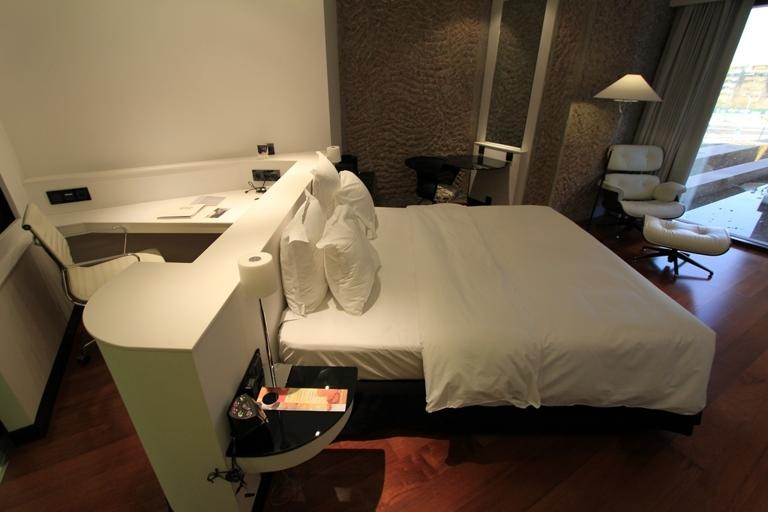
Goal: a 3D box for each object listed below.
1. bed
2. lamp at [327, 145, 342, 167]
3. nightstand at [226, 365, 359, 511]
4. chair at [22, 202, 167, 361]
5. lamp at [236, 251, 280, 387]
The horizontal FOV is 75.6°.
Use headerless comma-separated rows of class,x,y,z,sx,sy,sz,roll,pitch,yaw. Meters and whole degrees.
bed,0.991,0.471,4.010,2.182,0.560,2.325,0,33,-3
lamp,-0.546,-1.132,5.439,0.204,0.203,0.208,9,31,4
nightstand,-0.571,1.211,3.576,0.812,0.669,1.238,0,38,-1
chair,-2.537,0.170,4.526,1.038,1.344,0.913,-4,26,-15
lamp,-0.840,0.442,3.491,0.231,0.957,0.395,-16,29,-29
